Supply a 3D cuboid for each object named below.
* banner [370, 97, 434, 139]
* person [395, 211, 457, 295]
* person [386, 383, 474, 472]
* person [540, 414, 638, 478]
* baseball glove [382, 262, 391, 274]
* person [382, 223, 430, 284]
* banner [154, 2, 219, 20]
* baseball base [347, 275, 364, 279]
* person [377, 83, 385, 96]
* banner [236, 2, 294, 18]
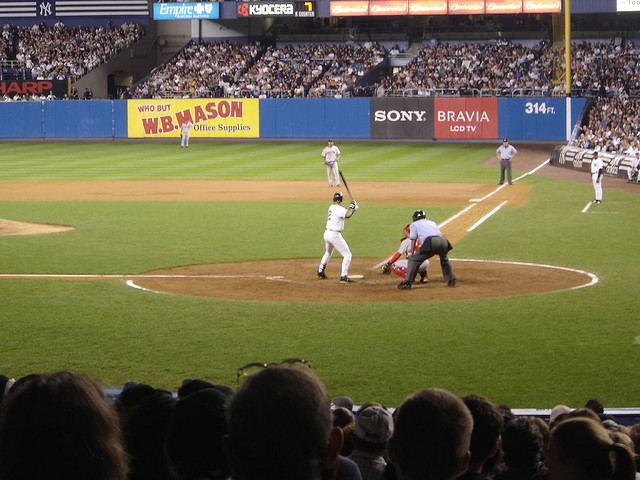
[{"bbox_3d":[5.007,-7.410,57.419,3.856,2.363,1.358,1,8,6],"label":"banner"},{"bbox_3d":[2.135,0.171,18.939,1.086,1.575,1.007,-5,-5,-16],"label":"person"},{"bbox_3d":[0.901,1.505,7.610,0.584,0.971,0.651,5,13,6],"label":"person"},{"bbox_3d":[2.208,1.708,7.594,0.728,0.541,0.246,-1,8,-7],"label":"person"},{"bbox_3d":[1.435,0.590,20.114,0.148,0.217,0.098,-6,-27,19],"label":"baseball glove"},{"bbox_3d":[1.897,0.281,19.818,0.719,1.249,0.935,-9,-6,41],"label":"person"},{"bbox_3d":[-8.992,-15.516,63.831,4.647,1.117,1.070,4,9,27],"label":"banner"},{"bbox_3d":[0.776,0.767,19.796,0.333,0.028,0.462,0,8,1],"label":"baseball base"},{"bbox_3d":[3.715,-9.278,58.475,0.240,0.683,0.752,16,39,30],"label":"person"},{"bbox_3d":[-3.489,-14.922,61.087,4.180,0.990,0.810,6,10,34],"label":"banner"}]
